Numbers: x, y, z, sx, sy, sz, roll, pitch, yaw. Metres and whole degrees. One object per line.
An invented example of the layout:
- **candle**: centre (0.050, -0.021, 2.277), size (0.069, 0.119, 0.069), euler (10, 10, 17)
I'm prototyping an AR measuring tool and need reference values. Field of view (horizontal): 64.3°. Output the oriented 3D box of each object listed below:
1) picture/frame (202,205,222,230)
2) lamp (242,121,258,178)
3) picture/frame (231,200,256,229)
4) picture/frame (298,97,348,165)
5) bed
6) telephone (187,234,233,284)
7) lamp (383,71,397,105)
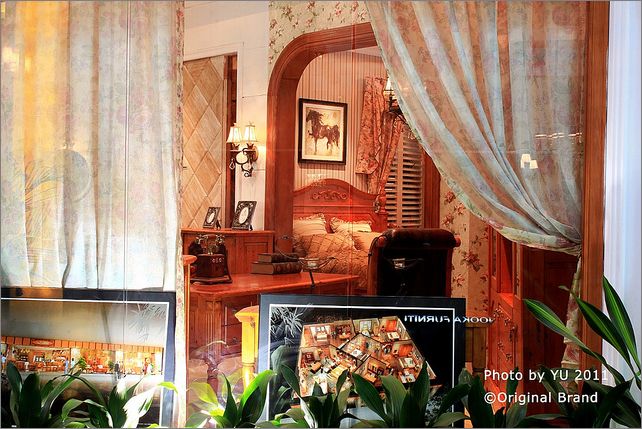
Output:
- **picture/frame**: centre (-0.850, 0.039, 4.164), size (0.148, 0.241, 0.144), euler (0, -16, 7)
- **lamp**: centre (-0.532, -0.456, 3.883), size (0.122, 0.372, 0.281), euler (2, -11, -9)
- **picture/frame**: centre (-0.610, 0.001, 4.123), size (0.021, 0.229, 0.207), euler (10, -1, -36)
- **picture/frame**: centre (0.020, -0.614, 3.934), size (0.596, 0.772, 0.031), euler (5, 7, 43)
- **bed**: centre (0.134, 0.092, 3.066), size (0.497, 0.462, 0.633), euler (-1, 0, -38)
- **telephone**: centre (-0.805, 0.335, 3.756), size (0.235, 0.353, 0.309), euler (0, -5, 23)
- **lamp**: centre (0.327, -0.584, 2.405), size (0.061, 0.121, 0.140), euler (-2, -11, 8)
